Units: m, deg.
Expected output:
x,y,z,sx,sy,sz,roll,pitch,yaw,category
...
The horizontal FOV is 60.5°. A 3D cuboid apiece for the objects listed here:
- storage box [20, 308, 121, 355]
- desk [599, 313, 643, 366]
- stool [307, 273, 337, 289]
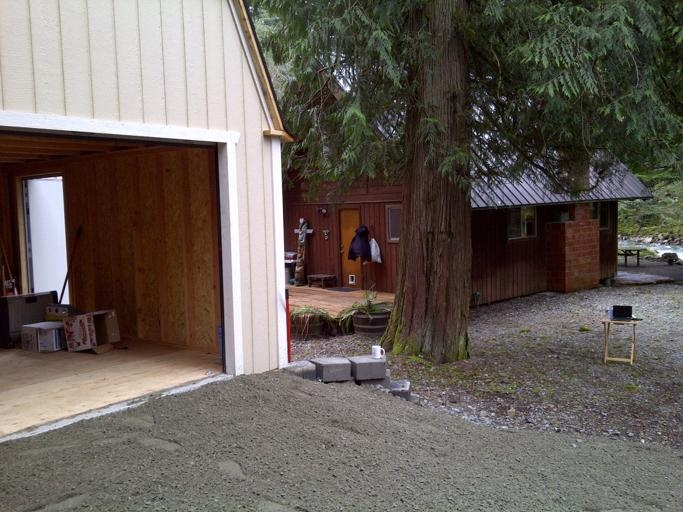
x,y,z,sx,sy,sz,roll,pitch,yaw,category
-4.378,1.231,9.433,0.854,0.635,0.906,2,2,28,storage box
4.986,1.536,10.480,0.612,0.813,0.835,0,0,22,desk
-0.634,0.761,18.447,0.874,0.435,0.620,10,9,42,stool
